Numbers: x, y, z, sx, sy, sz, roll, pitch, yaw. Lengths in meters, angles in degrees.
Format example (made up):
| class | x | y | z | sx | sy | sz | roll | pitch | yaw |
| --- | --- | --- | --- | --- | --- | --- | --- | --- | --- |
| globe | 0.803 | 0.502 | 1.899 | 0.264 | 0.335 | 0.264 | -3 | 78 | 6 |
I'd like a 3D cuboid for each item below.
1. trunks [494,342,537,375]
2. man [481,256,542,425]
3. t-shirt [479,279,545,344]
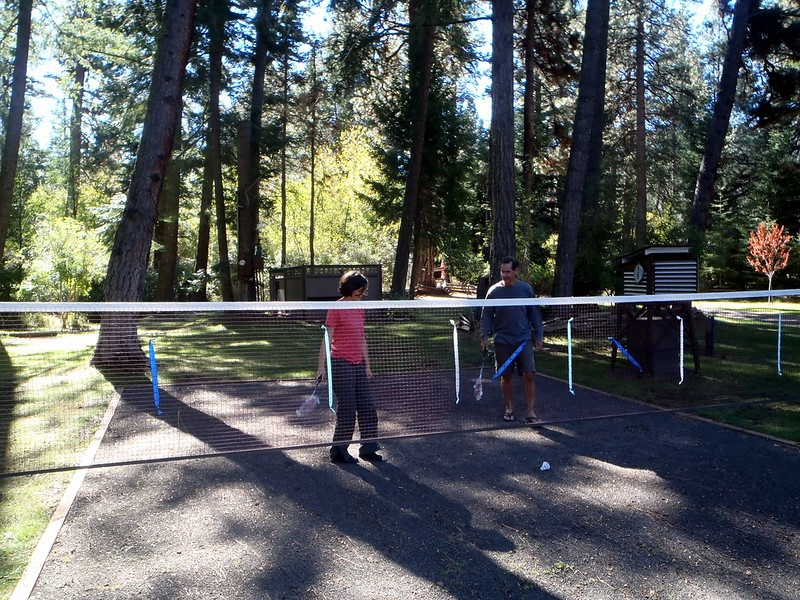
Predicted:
| class | x | y | z | sx | sy | sz | roll | pitch | yaw |
| --- | --- | --- | --- | --- | --- | --- | --- | --- | --- |
| trunks | 1.687 | 0.872 | 9.852 | 0.655 | 0.724 | 0.409 | 1 | -6 | 3 |
| man | 1.680 | 0.592 | 9.992 | 0.886 | 2.444 | 0.843 | 2 | 11 | 12 |
| t-shirt | 1.674 | 0.136 | 9.921 | 0.875 | 0.979 | 0.495 | 1 | 26 | 17 |
